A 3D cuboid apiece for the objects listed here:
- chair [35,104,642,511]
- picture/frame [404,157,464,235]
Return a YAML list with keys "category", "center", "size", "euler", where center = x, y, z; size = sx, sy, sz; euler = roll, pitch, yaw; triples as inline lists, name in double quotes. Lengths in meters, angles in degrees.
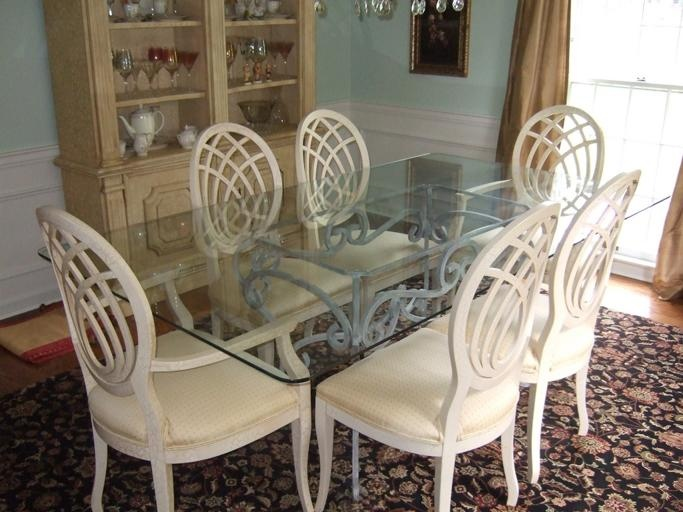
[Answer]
- category: "chair"
  center: [0.019, 0.294, 2.315]
  size: [2.186, 1.268, 1.297]
  euler: [-7, 23, -15]
- category: "picture/frame"
  center: [0.476, -0.298, 2.891]
  size: [0.389, 0.584, 0.039]
  euler: [-10, -17, 40]
